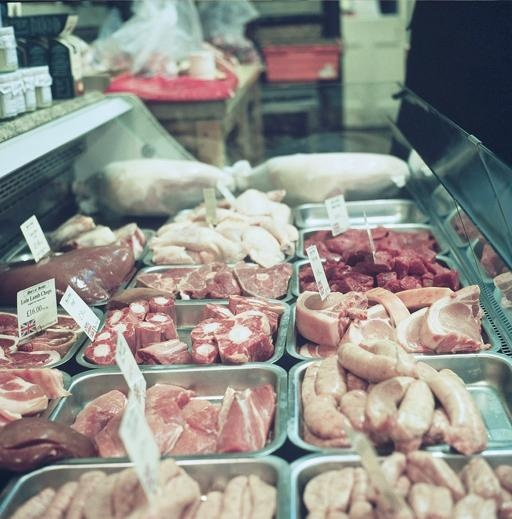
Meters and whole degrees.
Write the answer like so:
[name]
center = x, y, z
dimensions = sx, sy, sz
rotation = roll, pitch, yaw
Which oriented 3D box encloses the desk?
[desk]
center = -0.327, -0.686, 2.560
dimensions = 0.484, 0.494, 0.811
rotation = -1, -6, 1
